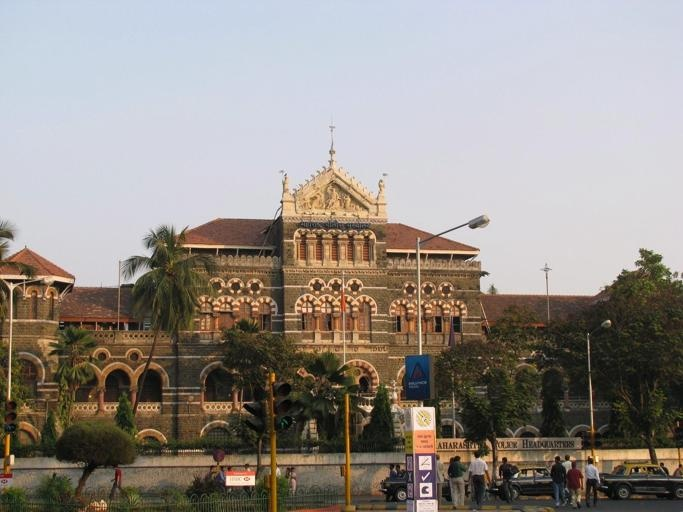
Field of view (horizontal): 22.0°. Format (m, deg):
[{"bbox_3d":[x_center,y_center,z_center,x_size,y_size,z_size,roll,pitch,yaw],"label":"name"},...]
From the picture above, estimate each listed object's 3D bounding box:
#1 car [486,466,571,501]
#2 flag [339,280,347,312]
[{"bbox_3d":[10.726,13.518,104.708,3.319,2.179,3.153,-3,-9,-9],"label":"car"},{"bbox_3d":[0.143,3.247,129.274,0.489,2.458,1.314,-2,-11,6],"label":"flag"}]
